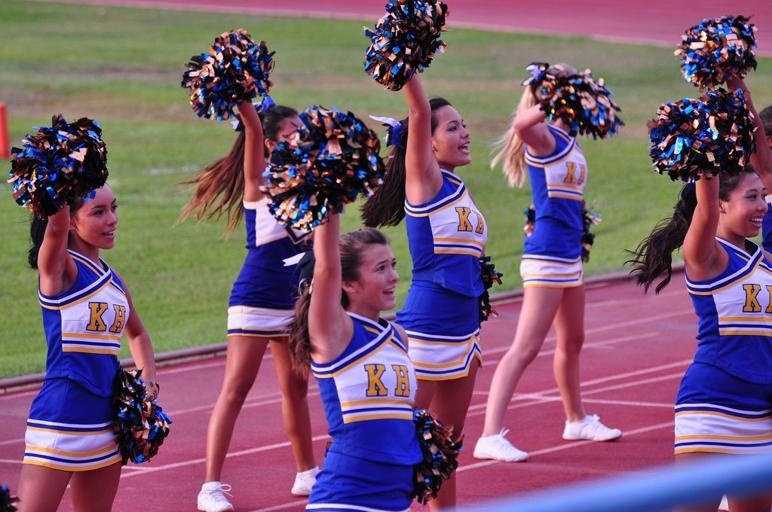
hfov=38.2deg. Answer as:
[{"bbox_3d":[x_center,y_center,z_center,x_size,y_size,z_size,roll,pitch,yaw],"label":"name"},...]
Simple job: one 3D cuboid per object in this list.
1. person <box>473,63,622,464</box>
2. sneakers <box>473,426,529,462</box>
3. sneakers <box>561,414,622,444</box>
[{"bbox_3d":[1.241,0.019,8.252,1.038,2.840,1.181,2,10,10],"label":"person"},{"bbox_3d":[0.835,1.362,8.036,0.410,0.225,0.162,1,-6,30],"label":"sneakers"},{"bbox_3d":[1.515,1.306,8.301,0.513,0.202,0.165,-2,-4,7],"label":"sneakers"}]
